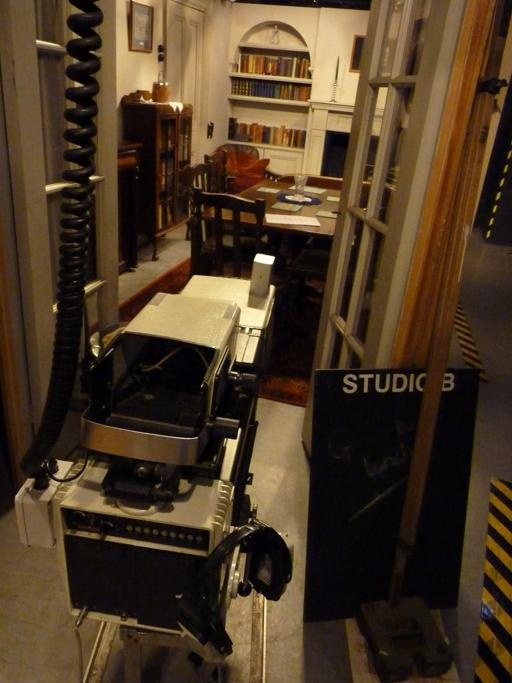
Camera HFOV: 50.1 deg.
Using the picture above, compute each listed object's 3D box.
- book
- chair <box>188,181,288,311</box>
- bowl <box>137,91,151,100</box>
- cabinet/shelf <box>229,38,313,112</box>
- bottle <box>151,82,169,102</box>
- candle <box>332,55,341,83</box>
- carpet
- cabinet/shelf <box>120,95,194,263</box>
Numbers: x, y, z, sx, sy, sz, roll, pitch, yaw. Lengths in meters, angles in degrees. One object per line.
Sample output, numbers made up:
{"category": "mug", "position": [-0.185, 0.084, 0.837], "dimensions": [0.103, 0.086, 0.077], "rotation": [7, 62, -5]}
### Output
{"category": "book", "position": [0.197, -3.162, 7.060], "dimensions": [0.972, 1.038, 0.354], "rotation": [4, 35, 2]}
{"category": "chair", "position": [-0.125, -0.637, 3.522], "dimensions": [0.592, 0.746, 1.070], "rotation": [7, 23, 2]}
{"category": "bowl", "position": [-0.974, -2.157, 4.814], "dimensions": [0.084, 0.078, 0.315], "rotation": [5, 24, -2]}
{"category": "cabinet/shelf", "position": [0.186, -3.309, 6.839], "dimensions": [1.031, 0.693, 0.385], "rotation": [8, 24, 6]}
{"category": "bottle", "position": [-0.849, -2.200, 4.847], "dimensions": [0.141, 0.168, 0.256], "rotation": [1, 24, -11]}
{"category": "candle", "position": [0.967, -3.286, 6.624], "dimensions": [0.065, 0.272, 0.029], "rotation": [12, 23, 18]}
{"category": "carpet", "position": [-0.110, -0.058, 3.636], "dimensions": [0.936, 0.271, 1.118], "rotation": [8, 37, 10]}
{"category": "cabinet/shelf", "position": [-0.909, -1.678, 5.331], "dimensions": [0.340, 1.314, 0.858], "rotation": [-2, 18, -18]}
